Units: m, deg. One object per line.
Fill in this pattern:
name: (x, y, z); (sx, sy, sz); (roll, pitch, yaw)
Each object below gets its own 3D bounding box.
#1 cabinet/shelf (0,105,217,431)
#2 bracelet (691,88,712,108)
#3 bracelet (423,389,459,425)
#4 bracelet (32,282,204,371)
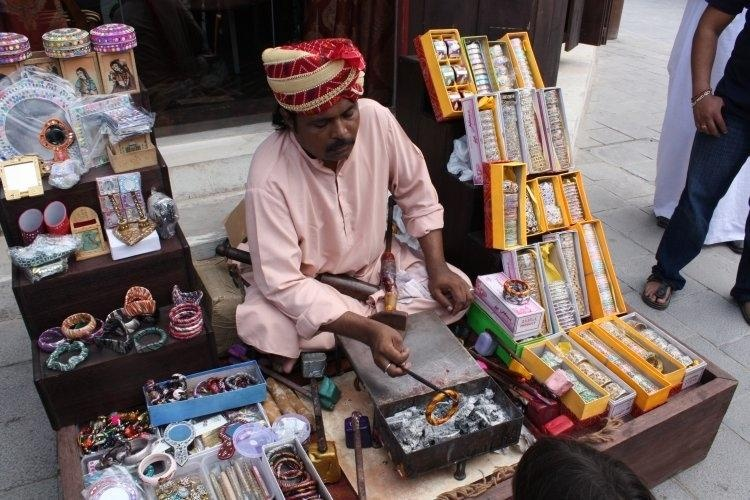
cabinet/shelf: (-1.667, 0.118, 3.359); (1.211, 1.094, 1.671); (-19, 57, -18)
bracelet: (2.447, -1.163, 3.727); (0.130, 0.056, 0.124); (-35, -5, 16)
bracelet: (0.343, 0.871, 2.776); (0.191, 0.214, 0.058); (-8, 33, -45)
bracelet: (-1.461, 0.390, 2.902); (0.779, 0.234, 0.471); (-19, 35, -36)
